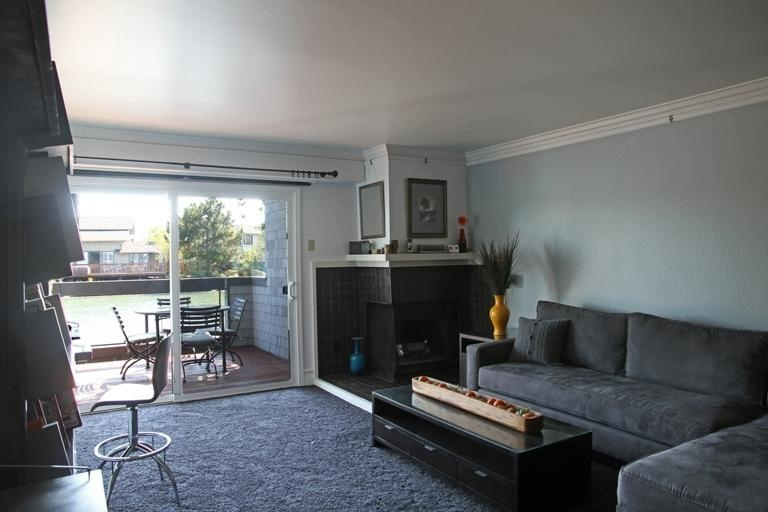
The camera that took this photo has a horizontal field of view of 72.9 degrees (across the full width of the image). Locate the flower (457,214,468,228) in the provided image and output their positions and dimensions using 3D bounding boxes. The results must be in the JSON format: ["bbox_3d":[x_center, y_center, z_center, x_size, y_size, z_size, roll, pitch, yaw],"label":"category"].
[{"bbox_3d":[1.054,-0.465,7.033,0.130,0.168,0.268,0,7,9],"label":"flower"}]

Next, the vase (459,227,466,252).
[{"bbox_3d":[1.050,-0.215,7.000,0.113,0.317,0.297,0,8,8],"label":"vase"}]

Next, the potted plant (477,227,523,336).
[{"bbox_3d":[1.387,0.331,6.184,0.574,1.204,0.488,3,-6,-29],"label":"potted plant"}]

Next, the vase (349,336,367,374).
[{"bbox_3d":[-0.369,1.305,6.929,0.203,0.481,0.297,-1,8,-2],"label":"vase"}]

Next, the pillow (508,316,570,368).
[{"bbox_3d":[1.735,0.914,5.474,0.497,0.466,0.153,9,-7,41],"label":"pillow"}]

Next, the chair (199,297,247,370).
[{"bbox_3d":[-2.134,1.023,7.465,0.832,1.130,0.691,3,-6,-28],"label":"chair"}]

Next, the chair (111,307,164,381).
[{"bbox_3d":[-3.372,1.178,7.150,0.629,0.860,0.543,-1,-8,-29],"label":"chair"}]

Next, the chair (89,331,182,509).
[{"bbox_3d":[-2.108,1.388,4.381,0.790,1.332,0.761,0,1,-8],"label":"chair"}]
